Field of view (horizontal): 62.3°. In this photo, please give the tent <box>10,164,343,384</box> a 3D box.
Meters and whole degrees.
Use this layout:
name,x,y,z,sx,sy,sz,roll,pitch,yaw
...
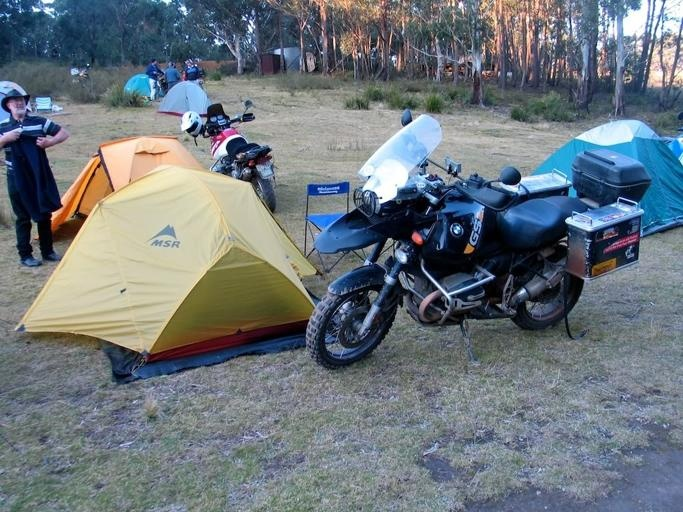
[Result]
name,x,y,z,sx,sy,sz,roll,pitch,yaw
tent,-1.621,0.139,5.820,2.244,1.171,2.262,-1,26,-9

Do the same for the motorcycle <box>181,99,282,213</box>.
name,x,y,z,sx,sy,sz,roll,pitch,yaw
motorcycle,-1.924,-1.946,9.983,1.295,1.651,2.527,-27,34,-9

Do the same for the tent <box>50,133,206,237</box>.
name,x,y,z,sx,sy,sz,roll,pitch,yaw
tent,-3.219,-1.231,8.625,1.913,1.023,1.943,-2,27,-31

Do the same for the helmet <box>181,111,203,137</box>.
name,x,y,z,sx,sy,sz,roll,pitch,yaw
helmet,-2.625,-2.283,9.847,0.324,0.432,0.470,2,-15,-1
